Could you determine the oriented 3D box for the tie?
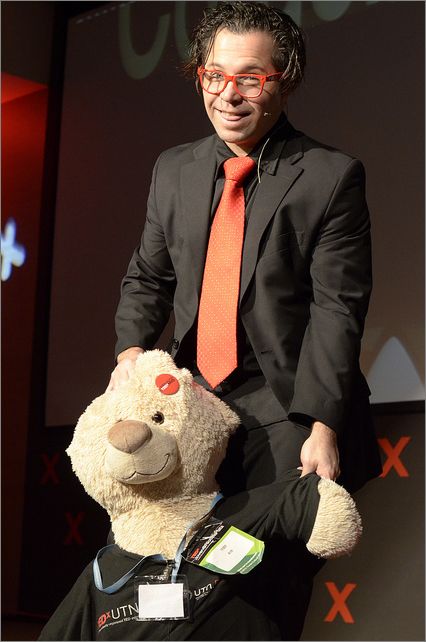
[{"bbox_3d":[0.026,-0.083,1.029,0.101,0.399,0.029,-2,-16,26],"label":"tie"}]
